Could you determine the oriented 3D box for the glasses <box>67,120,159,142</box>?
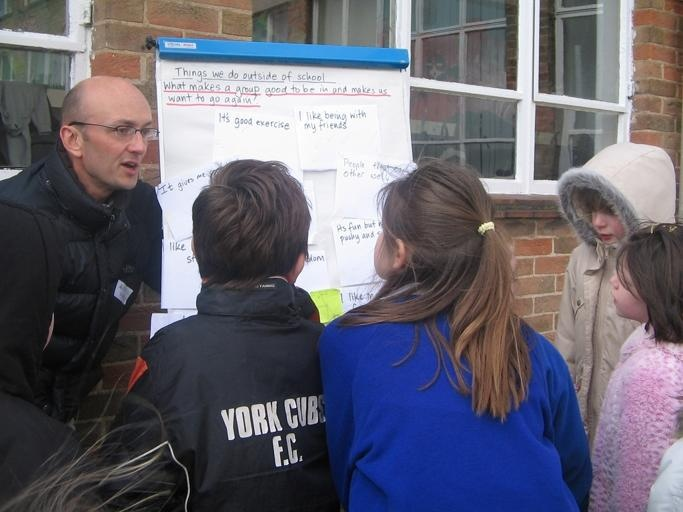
[{"bbox_3d":[-0.882,-0.484,2.454,0.326,0.069,0.119,-2,5,-24],"label":"glasses"}]
